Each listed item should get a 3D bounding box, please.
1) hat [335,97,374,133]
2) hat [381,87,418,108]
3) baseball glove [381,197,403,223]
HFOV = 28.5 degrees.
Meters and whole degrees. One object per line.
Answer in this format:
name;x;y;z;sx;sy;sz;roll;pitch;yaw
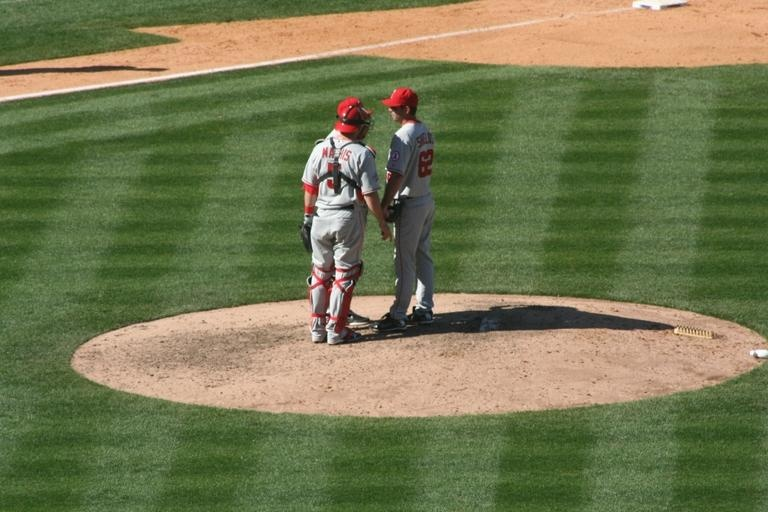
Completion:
hat;-0.429;-1.909;20.336;0.465;0.254;0.595;13;26;24
hat;0.261;-2.133;20.593;0.628;0.236;0.350;-2;16;-1
baseball glove;0.148;-0.637;20.546;0.385;0.263;0.232;1;3;3
